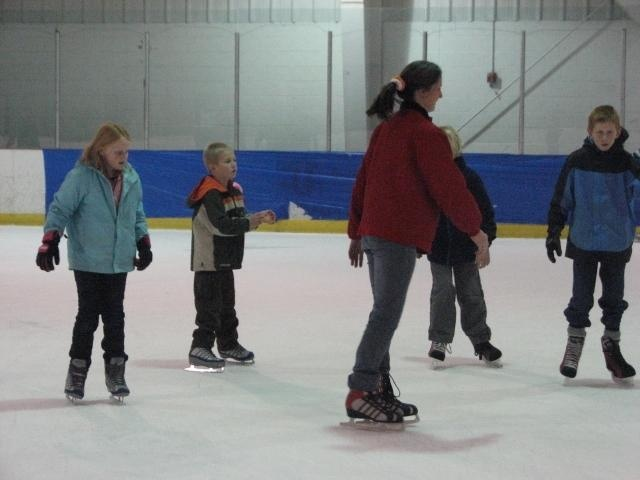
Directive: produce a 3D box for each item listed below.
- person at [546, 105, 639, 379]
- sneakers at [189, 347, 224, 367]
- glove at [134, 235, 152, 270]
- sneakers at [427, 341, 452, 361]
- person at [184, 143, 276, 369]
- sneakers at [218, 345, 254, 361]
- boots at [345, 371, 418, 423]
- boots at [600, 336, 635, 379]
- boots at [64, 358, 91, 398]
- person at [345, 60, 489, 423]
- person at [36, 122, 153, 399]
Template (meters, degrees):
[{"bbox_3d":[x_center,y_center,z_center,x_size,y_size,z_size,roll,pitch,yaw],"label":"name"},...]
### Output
[{"bbox_3d":[1.765,0.017,5.159,0.629,1.723,0.503,5,10,14],"label":"person"},{"bbox_3d":[-0.712,0.783,5.304,0.292,0.123,0.097,1,-5,13],"label":"sneakers"},{"bbox_3d":[-1.076,0.082,4.889,0.142,0.186,0.068,11,-12,-13],"label":"glove"},{"bbox_3d":[0.816,0.772,5.545,0.088,0.108,0.258,26,-2,4],"label":"sneakers"},{"bbox_3d":[-0.647,0.129,5.371,0.479,1.516,0.572,1,10,-9],"label":"person"},{"bbox_3d":[-0.561,0.776,5.523,0.266,0.120,0.095,0,-4,8],"label":"sneakers"},{"bbox_3d":[0.403,0.916,4.572,0.527,0.362,0.175,1,-8,-4],"label":"boots"},{"bbox_3d":[1.904,0.758,5.138,0.175,0.265,0.231,-4,12,-35],"label":"boots"},{"bbox_3d":[-1.406,0.803,4.665,0.119,0.207,0.115,2,10,-4],"label":"boots"},{"bbox_3d":[0.518,0.023,4.372,0.629,1.959,0.422,5,10,10],"label":"person"},{"bbox_3d":[-1.313,0.129,4.726,0.644,1.599,0.509,0,10,-17],"label":"person"}]
